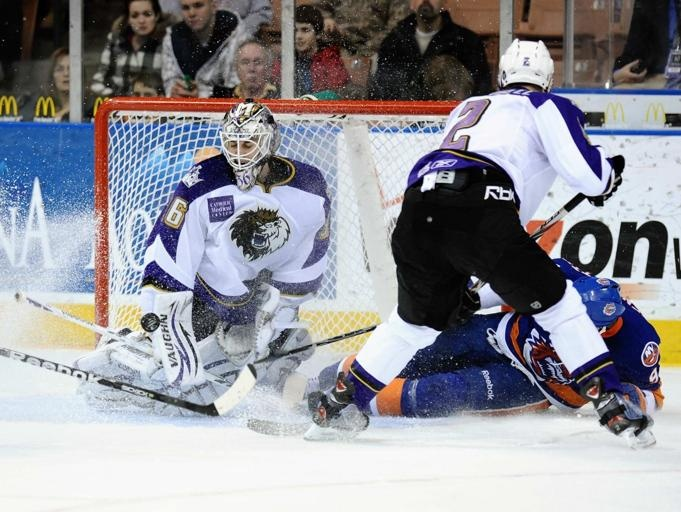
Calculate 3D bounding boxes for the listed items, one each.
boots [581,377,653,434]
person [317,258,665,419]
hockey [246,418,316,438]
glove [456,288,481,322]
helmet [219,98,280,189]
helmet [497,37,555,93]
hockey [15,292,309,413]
[{"bbox_3d":[1.090,0.522,3.932,0.293,0.182,0.126,0,17,-36],"label":"boots"},{"bbox_3d":[0.702,0.461,4.370,1.272,0.462,0.758,-5,14,-8],"label":"person"},{"bbox_3d":[-0.258,0.693,4.104,0.252,0.034,0.203,3,2,-15],"label":"hockey"},{"bbox_3d":[0.540,0.208,4.257,0.054,0.144,0.106,-10,52,-22],"label":"glove"},{"bbox_3d":[-0.410,-0.496,4.474,0.301,0.396,0.358,1,12,8],"label":"helmet"},{"bbox_3d":[0.789,-0.797,4.188,0.183,0.224,0.241,6,14,14],"label":"helmet"},{"bbox_3d":[-0.820,0.399,4.328,0.984,0.221,0.567,24,3,-14],"label":"hockey"}]
